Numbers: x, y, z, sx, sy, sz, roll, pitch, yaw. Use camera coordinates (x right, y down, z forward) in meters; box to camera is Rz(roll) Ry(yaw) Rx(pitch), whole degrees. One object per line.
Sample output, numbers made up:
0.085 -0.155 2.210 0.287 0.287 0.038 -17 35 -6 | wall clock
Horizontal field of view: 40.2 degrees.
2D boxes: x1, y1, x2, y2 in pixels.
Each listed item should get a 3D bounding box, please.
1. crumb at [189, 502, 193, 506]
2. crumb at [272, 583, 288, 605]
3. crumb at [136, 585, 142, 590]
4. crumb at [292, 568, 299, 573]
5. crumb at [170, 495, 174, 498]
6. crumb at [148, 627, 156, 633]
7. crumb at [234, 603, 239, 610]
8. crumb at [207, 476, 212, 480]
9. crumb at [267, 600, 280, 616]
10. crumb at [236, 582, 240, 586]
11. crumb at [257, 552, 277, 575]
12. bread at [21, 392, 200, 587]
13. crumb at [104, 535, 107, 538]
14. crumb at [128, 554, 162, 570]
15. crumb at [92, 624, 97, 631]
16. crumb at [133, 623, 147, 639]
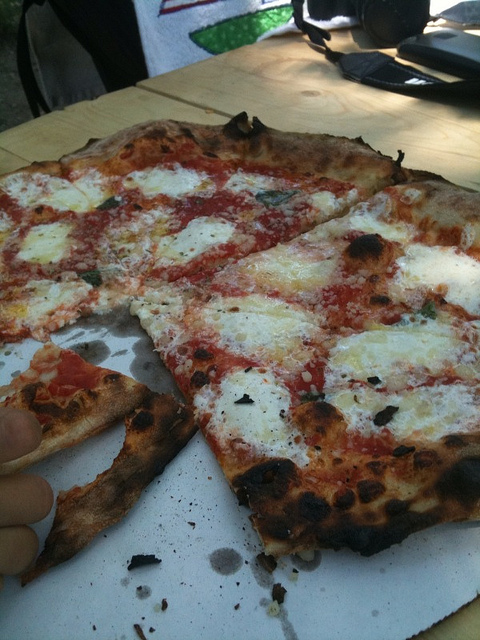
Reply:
-0.080 0.303 1.081 0.006 0.001 0.005 -17 36 -16 | crumb
0.058 0.407 0.978 0.021 0.010 0.029 9 37 21 | crumb
-0.150 0.402 0.985 0.007 0.001 0.006 -5 34 2 | crumb
0.084 0.382 0.998 0.007 0.002 0.009 -29 40 -29 | crumb
-0.112 0.293 1.093 0.004 0.001 0.005 -11 34 -6 | crumb
-0.126 0.447 0.946 0.011 0.002 0.006 -2 35 6 | crumb
-0.005 0.423 0.969 0.004 0.002 0.007 16 34 23 | crumb
-0.051 0.269 1.114 0.008 0.002 0.004 2 36 13 | crumb
0.050 0.422 0.963 0.015 0.015 0.015 26 8 31 | crumb
-0.003 0.397 0.989 0.005 0.001 0.004 -8 34 -2 | crumb
0.041 0.372 1.009 0.024 0.012 0.035 -29 40 -28 | crumb
-0.195 0.283 1.136 0.138 0.033 0.396 27 48 22 | bread
-0.213 0.344 1.045 0.004 0.001 0.005 -14 35 -11 | crumb
-0.148 0.371 1.014 0.052 0.006 0.022 -11 35 -7 | crumb
-0.211 0.446 0.951 0.005 0.001 0.006 19 51 13 | crumb
-0.145 0.448 0.944 0.009 0.007 0.023 -52 47 1 | crumb
